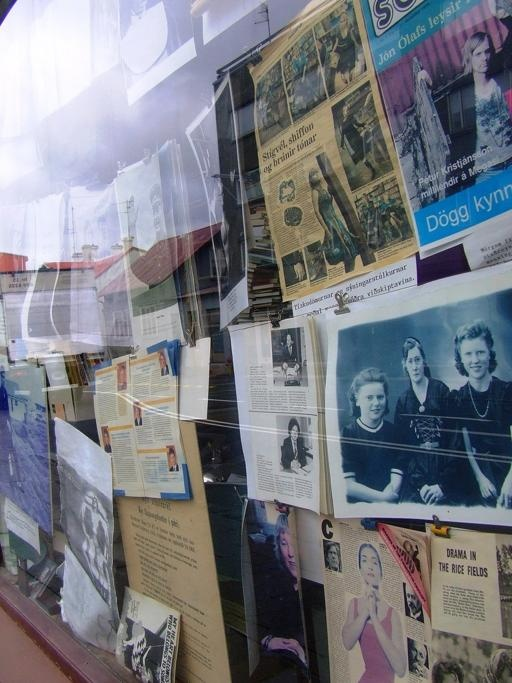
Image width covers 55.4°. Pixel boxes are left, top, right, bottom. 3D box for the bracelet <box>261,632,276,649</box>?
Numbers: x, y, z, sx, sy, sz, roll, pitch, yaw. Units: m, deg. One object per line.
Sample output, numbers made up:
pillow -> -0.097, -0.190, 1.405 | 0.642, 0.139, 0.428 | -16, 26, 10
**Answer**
bracelet -> 0.017, 0.436, 0.707 | 0.016, 0.023, 0.006 | 10, 6, 40
